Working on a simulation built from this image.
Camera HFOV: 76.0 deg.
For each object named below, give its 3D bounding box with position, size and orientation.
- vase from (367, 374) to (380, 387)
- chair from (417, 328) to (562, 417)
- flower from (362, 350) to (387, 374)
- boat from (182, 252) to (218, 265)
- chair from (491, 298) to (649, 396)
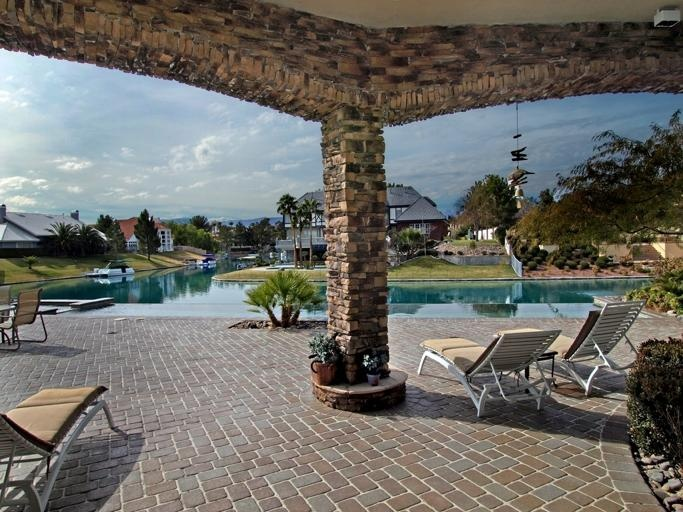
[{"bbox_3d":[0.449,1.726,6.146,0.181,0.103,0.163,-1,-2,15],"label":"vase"},{"bbox_3d":[2.146,1.580,6.843,1.151,0.988,2.343,0,-2,-16],"label":"chair"},{"bbox_3d":[0.473,1.533,6.303,0.296,0.362,0.350,2,7,20],"label":"flower"},{"bbox_3d":[-22.234,0.416,67.384,9.847,1.825,1.877,4,4,30],"label":"boat"},{"bbox_3d":[3.775,1.510,7.514,0.925,1.016,2.661,-3,-10,-19],"label":"chair"}]
